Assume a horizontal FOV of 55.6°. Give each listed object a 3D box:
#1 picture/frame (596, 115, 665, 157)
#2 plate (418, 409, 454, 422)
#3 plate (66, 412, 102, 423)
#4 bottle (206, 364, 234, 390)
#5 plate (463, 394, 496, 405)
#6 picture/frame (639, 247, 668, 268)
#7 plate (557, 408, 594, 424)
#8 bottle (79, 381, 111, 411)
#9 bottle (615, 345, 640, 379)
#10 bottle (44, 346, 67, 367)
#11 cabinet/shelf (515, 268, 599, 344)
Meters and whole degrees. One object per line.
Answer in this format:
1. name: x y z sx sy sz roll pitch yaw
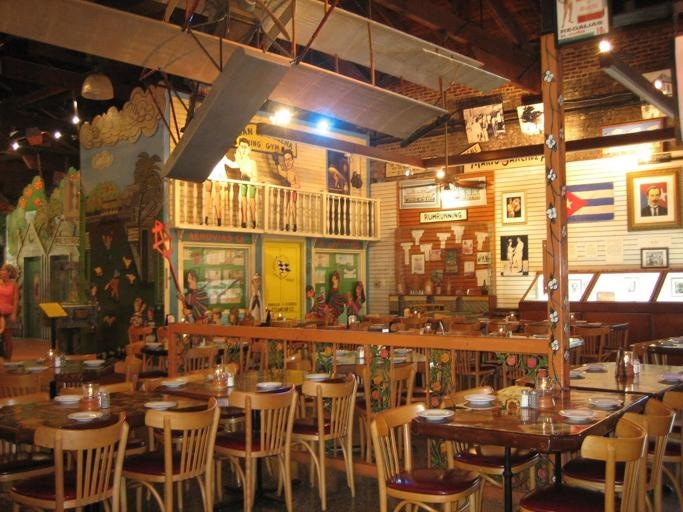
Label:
1. picture/frame: 5.423 -2.204 12.040 1.268 0.767 0.098 -1 -2 32
2. plate: 0.696 1.171 4.788 0.258 0.057 0.169 0 -4 5
3. plate: -2.092 1.297 5.299 0.267 0.048 0.291 2 -4 -22
4. bottle: -1.145 1.188 6.368 0.260 0.196 0.200 -1 4 -44
5. plate: 1.112 1.139 5.196 0.239 0.066 0.225 -1 -4 14
6. picture/frame: 6.279 0.032 12.991 0.380 0.329 0.030 1 -6 37
7. plate: 1.733 1.170 4.774 0.238 0.051 0.240 -1 -4 17
8. bottle: -2.146 1.194 5.593 0.263 0.276 0.171 2 -4 6
9. bottle: 2.819 1.043 6.393 0.259 0.409 0.281 -1 -5 0
10. bottle: -3.443 1.210 7.740 0.236 0.238 0.178 5 -8 -11
11. cabinet/shelf: 4.190 0.744 13.465 1.083 1.937 1.992 5 -7 -35
